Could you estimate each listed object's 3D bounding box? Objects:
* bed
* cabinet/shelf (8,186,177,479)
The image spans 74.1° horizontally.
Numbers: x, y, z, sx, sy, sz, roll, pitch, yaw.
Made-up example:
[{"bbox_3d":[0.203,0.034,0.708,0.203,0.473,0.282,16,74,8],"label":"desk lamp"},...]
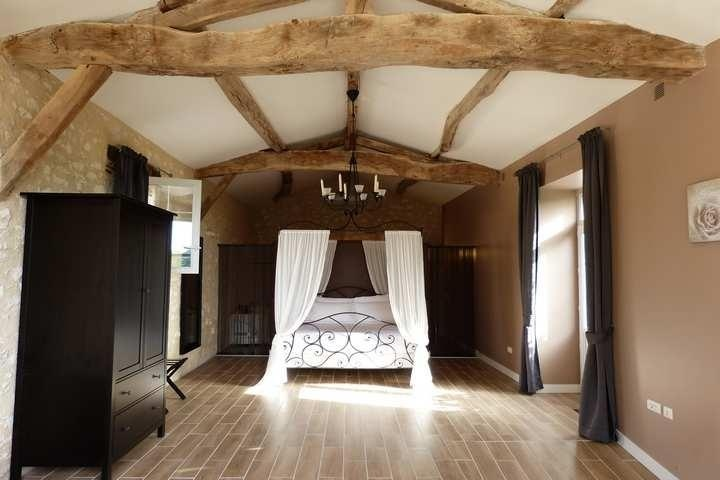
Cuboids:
[{"bbox_3d":[-0.228,1.198,7.529,2.162,2.140,0.338,1,-8,-1],"label":"bed"},{"bbox_3d":[-2.805,0.884,4.804,1.017,2.695,1.015,1,8,7],"label":"cabinet/shelf"}]
